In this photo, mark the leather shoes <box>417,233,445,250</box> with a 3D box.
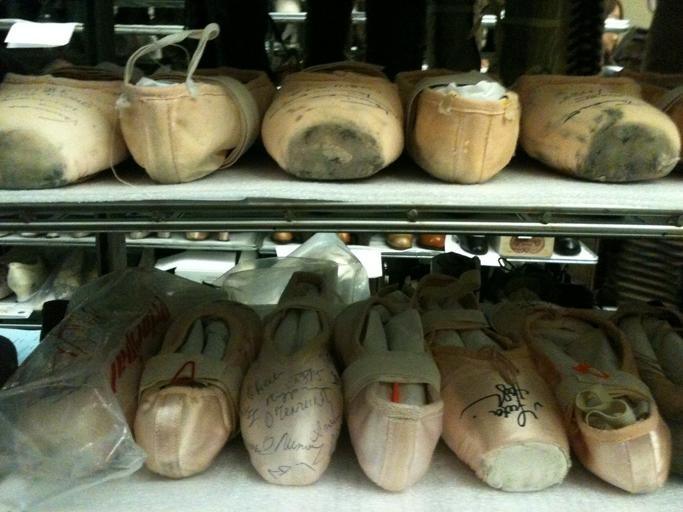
[{"bbox_3d":[0.238,-0.037,1.578,0.067,0.040,0.110,1,13,3],"label":"leather shoes"}]

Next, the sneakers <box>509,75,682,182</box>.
[{"bbox_3d":[0.303,-0.151,0.710,0.197,0.107,0.154,6,22,7],"label":"sneakers"}]

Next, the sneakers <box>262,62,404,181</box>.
[{"bbox_3d":[-0.009,-0.159,0.705,0.166,0.122,0.158,0,22,-6],"label":"sneakers"}]

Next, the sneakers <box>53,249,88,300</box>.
[{"bbox_3d":[-0.596,0.042,1.334,0.045,0.048,0.119,17,38,-23],"label":"sneakers"}]

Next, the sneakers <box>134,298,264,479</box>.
[{"bbox_3d":[-0.162,0.158,0.757,0.122,0.088,0.211,4,38,0],"label":"sneakers"}]

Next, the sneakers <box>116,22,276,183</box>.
[{"bbox_3d":[-0.120,-0.160,0.689,0.140,0.123,0.237,1,15,11],"label":"sneakers"}]

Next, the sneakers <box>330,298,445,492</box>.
[{"bbox_3d":[0.044,0.156,0.739,0.113,0.086,0.237,-3,39,-3],"label":"sneakers"}]

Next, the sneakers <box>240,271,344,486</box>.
[{"bbox_3d":[-0.046,0.143,0.766,0.105,0.097,0.251,3,37,-1],"label":"sneakers"}]

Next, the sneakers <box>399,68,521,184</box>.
[{"bbox_3d":[0.136,-0.148,0.695,0.129,0.116,0.111,8,23,12],"label":"sneakers"}]
